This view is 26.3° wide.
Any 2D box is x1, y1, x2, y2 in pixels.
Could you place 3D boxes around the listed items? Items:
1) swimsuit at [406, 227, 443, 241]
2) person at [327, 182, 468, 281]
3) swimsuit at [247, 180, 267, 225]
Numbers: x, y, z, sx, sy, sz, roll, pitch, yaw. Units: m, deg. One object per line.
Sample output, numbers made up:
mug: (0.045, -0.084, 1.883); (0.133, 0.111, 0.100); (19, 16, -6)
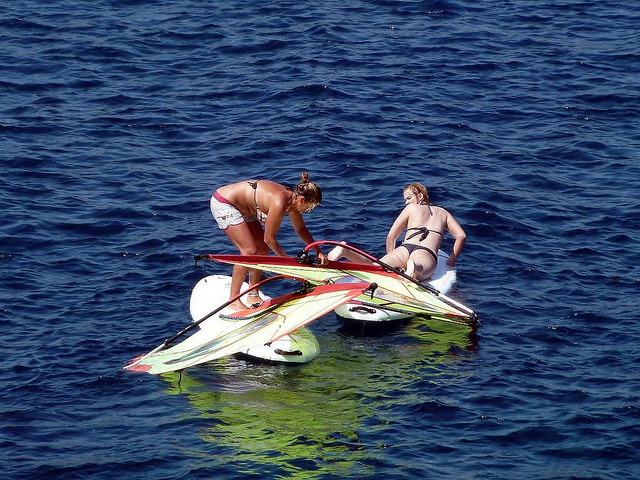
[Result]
swimsuit: (1.725, -0.093, 23.884); (0.329, 0.067, 0.263); (17, 75, 2)
person: (1.611, 0.027, 23.936); (1.831, 0.862, 2.564); (21, 36, 25)
swimsuit: (-0.947, -0.541, 22.421); (0.241, 0.679, 0.516); (11, 100, -12)
